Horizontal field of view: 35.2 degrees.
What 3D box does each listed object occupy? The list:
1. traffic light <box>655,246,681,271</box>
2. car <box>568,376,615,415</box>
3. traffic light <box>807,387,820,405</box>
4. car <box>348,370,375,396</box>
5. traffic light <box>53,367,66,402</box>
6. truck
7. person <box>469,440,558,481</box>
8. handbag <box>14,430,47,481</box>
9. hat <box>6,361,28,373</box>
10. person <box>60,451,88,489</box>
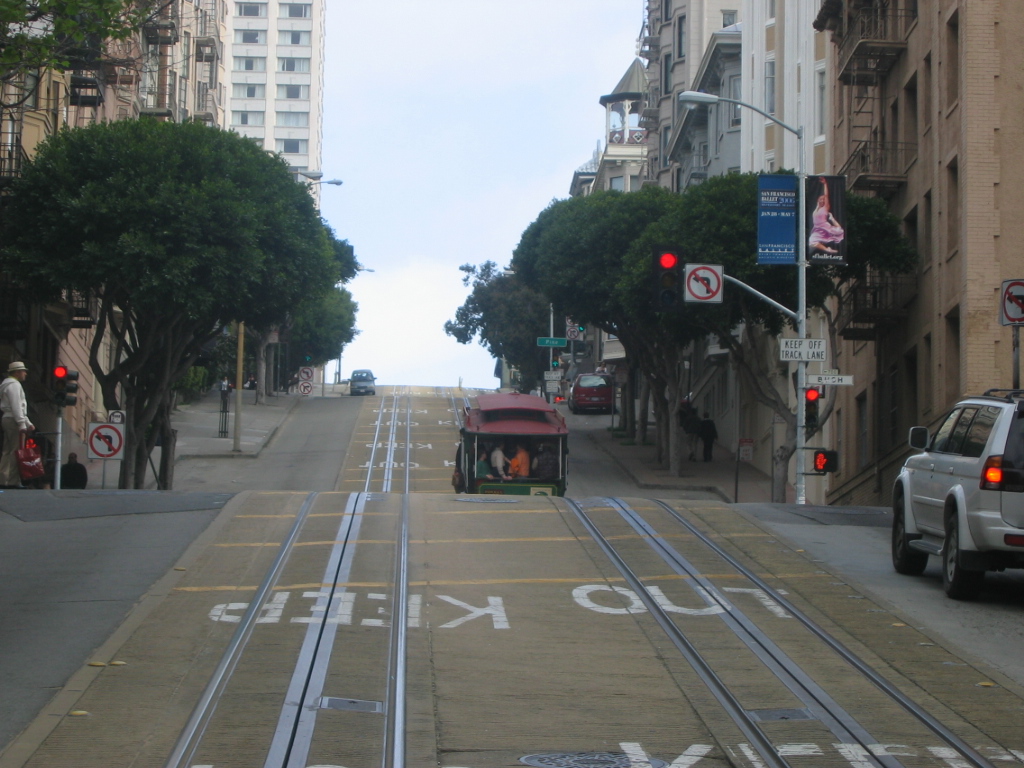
[{"bbox_3d":[3.460,-2.755,35.702,0.374,0.500,0.321,0,7,4],"label":"traffic light"},{"bbox_3d":[4.221,0.759,84.752,1.896,2.222,3.364,-1,8,-4],"label":"car"},{"bbox_3d":[6.835,0.296,36.655,0.320,0.375,0.192,-2,1,12],"label":"traffic light"},{"bbox_3d":[-9.287,0.036,99.402,1.580,1.679,3.160,0,1,-4],"label":"car"},{"bbox_3d":[-9.513,0.055,33.854,0.320,0.870,0.578,-3,8,-16],"label":"traffic light"},{"bbox_3d":[0.102,1.447,38.261,2.349,2.837,4.872,1,5,-2],"label":"truck"},{"bbox_3d":[0.111,1.701,36.227,1.862,0.945,0.547,-1,7,-2],"label":"person"},{"bbox_3d":[-9.950,1.521,33.140,0.493,1.392,0.920,-1,-7,-3],"label":"handbag"},{"bbox_3d":[-11.331,-0.369,36.728,0.625,0.262,0.486,-8,-5,38],"label":"hat"},{"bbox_3d":[-10.237,2.068,37.530,0.545,1.009,2.492,-3,8,-17],"label":"person"}]
